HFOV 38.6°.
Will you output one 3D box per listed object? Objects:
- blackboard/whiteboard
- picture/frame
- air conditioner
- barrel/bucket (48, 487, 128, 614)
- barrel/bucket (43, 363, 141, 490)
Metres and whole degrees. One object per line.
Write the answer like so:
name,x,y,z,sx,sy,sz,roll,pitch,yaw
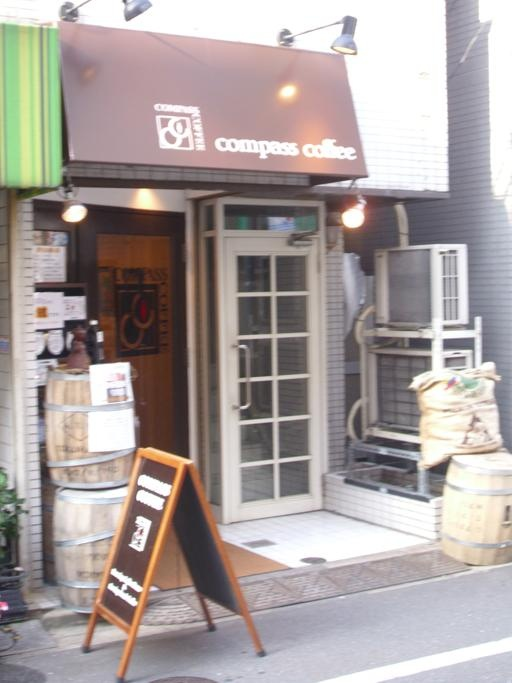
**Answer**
blackboard/whiteboard,-0.554,0.925,3.438,0.276,0.663,0.500,-1,0,-30
picture/frame,-1.113,-0.200,6.652,0.057,0.785,0.770,3,4,36
air conditioner,1.615,-0.075,6.667,1.045,2.273,1.156,-6,9,-31
barrel/bucket,-0.948,1.111,4.043,0.350,0.724,0.316,0,0,-22
barrel/bucket,-0.963,0.436,4.360,0.534,0.693,0.468,-4,12,-37
